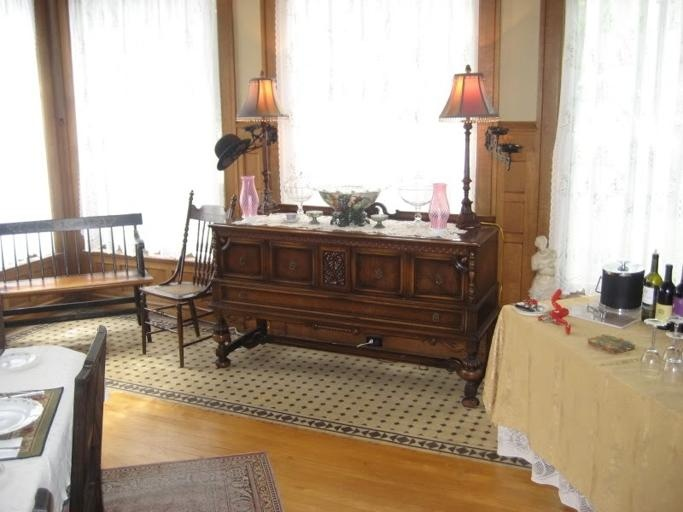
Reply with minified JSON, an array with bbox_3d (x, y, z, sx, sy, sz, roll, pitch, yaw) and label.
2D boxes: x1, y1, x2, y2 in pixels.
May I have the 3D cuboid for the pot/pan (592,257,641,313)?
[{"bbox_3d":[1.506,0.156,2.903,0.266,0.218,0.267,-11,18,-12],"label":"pot/pan"}]

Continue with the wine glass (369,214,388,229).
[{"bbox_3d":[0.279,-0.265,4.029,0.115,0.077,0.116,-7,15,-15],"label":"wine glass"}]

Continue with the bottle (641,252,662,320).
[{"bbox_3d":[1.572,0.161,2.740,0.087,0.370,0.087,-8,27,4],"label":"bottle"}]

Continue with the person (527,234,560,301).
[{"bbox_3d":[1.550,0.160,4.174,0.228,0.760,0.166,-4,44,18],"label":"person"}]

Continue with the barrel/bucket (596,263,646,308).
[{"bbox_3d":[1.508,0.165,2.900,0.185,0.211,0.191,-6,13,1],"label":"barrel/bucket"}]

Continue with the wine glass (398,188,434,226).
[{"bbox_3d":[0.551,-0.355,4.060,0.237,0.244,0.235,0,8,-3],"label":"wine glass"}]

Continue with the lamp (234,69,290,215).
[{"bbox_3d":[-0.658,-0.910,4.496,0.408,1.111,0.434,5,14,33],"label":"lamp"}]

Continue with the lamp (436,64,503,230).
[{"bbox_3d":[0.932,-0.765,3.903,0.367,1.130,0.477,5,15,28],"label":"lamp"}]

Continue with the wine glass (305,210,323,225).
[{"bbox_3d":[-0.209,-0.300,4.207,0.125,0.091,0.125,-3,11,-12],"label":"wine glass"}]

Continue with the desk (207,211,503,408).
[{"bbox_3d":[0.053,0.347,4.350,2.124,1.238,0.793,4,14,21],"label":"desk"}]
